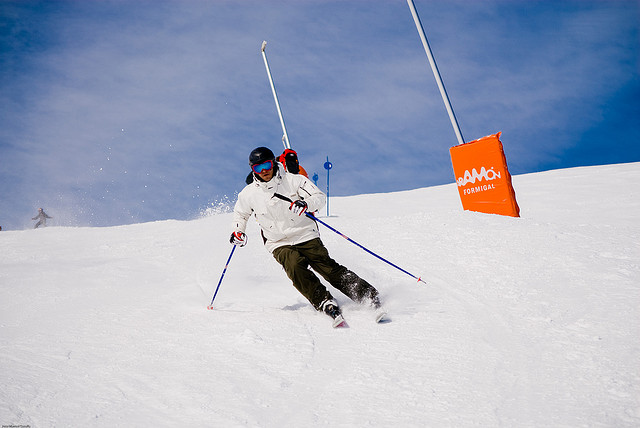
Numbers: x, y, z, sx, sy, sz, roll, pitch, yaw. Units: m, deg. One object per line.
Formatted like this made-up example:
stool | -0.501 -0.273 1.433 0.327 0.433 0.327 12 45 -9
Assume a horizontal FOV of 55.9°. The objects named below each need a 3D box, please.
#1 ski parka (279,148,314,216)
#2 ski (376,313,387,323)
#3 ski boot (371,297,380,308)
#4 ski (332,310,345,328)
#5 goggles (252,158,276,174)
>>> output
ski parka | -0.327 -0.482 10.227 0.493 0.908 1.236 -6 97 -10
ski | 0.821 1.394 8.216 0.159 0.108 0.058 -33 64 -8
ski boot | 0.758 1.237 8.461 0.132 0.112 0.127 -19 73 -12
ski | 0.221 1.404 8.142 0.176 0.069 0.202 -27 63 -6
goggles | -0.765 -0.673 8.491 0.337 0.156 0.129 -25 63 -4
